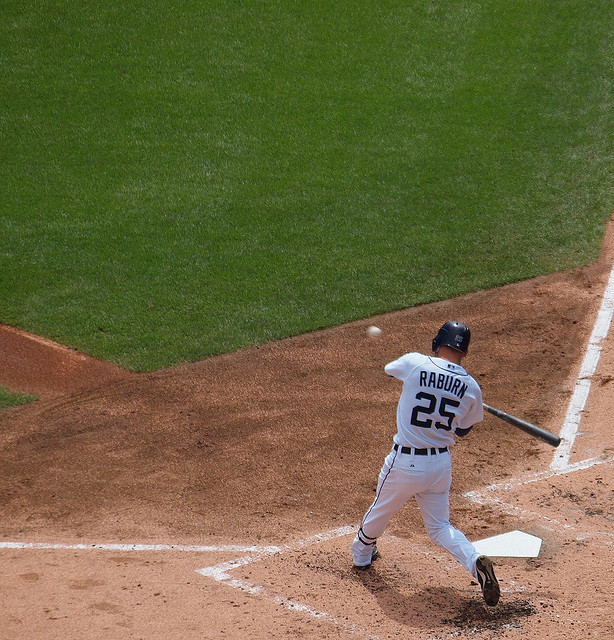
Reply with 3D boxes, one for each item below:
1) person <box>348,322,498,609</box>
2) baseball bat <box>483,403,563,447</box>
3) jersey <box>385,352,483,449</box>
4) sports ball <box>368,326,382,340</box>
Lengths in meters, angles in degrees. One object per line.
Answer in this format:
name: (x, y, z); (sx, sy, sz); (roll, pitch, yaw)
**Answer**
person: (1.510, 1.735, 16.950); (1.587, 2.568, 0.793); (13, 17, 25)
baseball bat: (2.767, 1.320, 18.479); (1.026, 0.156, 0.120); (27, -18, 2)
jersey: (1.482, 0.942, 16.896); (1.097, 1.011, 0.420); (6, 16, 2)
sports ball: (0.875, 0.176, 18.653); (0.149, 0.111, 0.162); (0, 4, 0)
